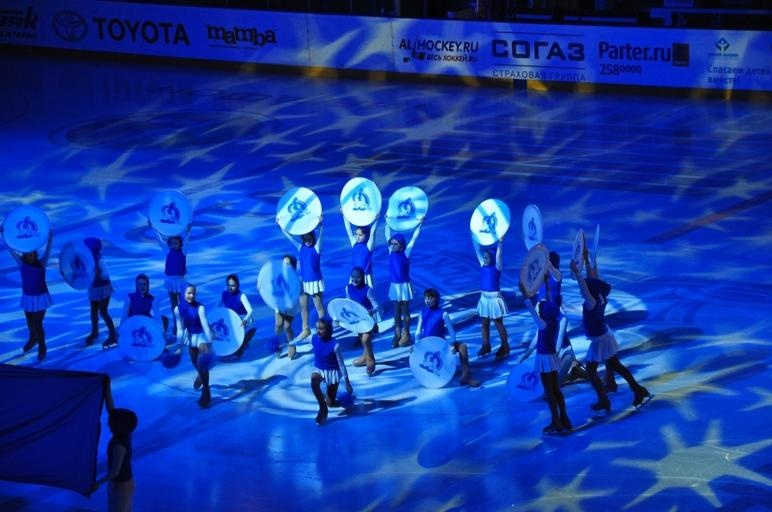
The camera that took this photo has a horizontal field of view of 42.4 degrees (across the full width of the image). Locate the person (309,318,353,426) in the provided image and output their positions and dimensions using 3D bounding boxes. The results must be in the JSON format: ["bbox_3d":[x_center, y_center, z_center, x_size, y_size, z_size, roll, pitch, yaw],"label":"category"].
[{"bbox_3d":[-1.010,2.005,18.230,0.738,1.820,1.141,-4,29,-2],"label":"person"}]

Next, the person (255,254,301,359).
[{"bbox_3d":[-2.125,0.995,20.133,0.799,1.765,1.486,-2,29,1],"label":"person"}]

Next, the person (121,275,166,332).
[{"bbox_3d":[-4.793,0.845,19.352,0.653,0.817,0.579,-12,31,-17],"label":"person"}]

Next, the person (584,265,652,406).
[{"bbox_3d":[4.033,1.487,18.034,0.957,2.459,1.241,-11,31,-15],"label":"person"}]

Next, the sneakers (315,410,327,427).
[{"bbox_3d":[-1.176,2.973,18.182,0.165,0.256,0.089,17,10,-10],"label":"sneakers"}]

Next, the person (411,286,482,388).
[{"bbox_3d":[1.130,1.487,18.865,1.116,1.840,1.025,-1,29,2],"label":"person"}]

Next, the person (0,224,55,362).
[{"bbox_3d":[-7.108,0.780,19.980,0.792,2.207,1.285,3,30,9],"label":"person"}]

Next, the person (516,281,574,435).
[{"bbox_3d":[2.864,1.766,17.743,0.826,2.471,1.398,-3,29,-1],"label":"person"}]
